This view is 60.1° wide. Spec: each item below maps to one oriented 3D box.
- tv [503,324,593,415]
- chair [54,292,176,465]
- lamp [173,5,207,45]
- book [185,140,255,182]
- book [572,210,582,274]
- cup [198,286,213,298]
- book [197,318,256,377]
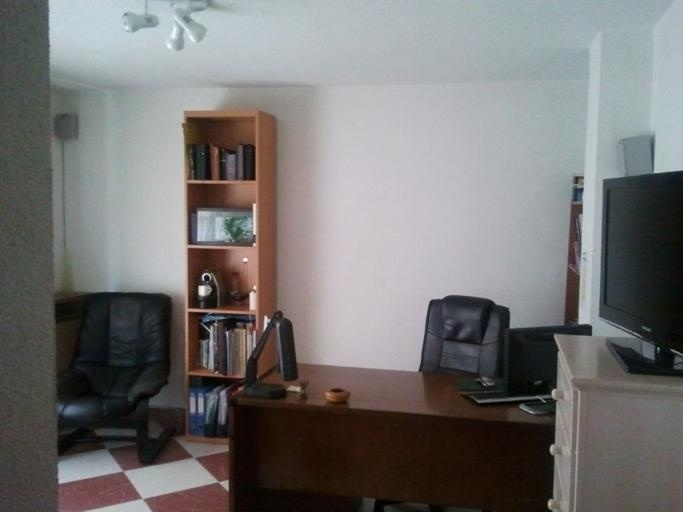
[{"bbox_3d":[0.898,0.502,2.601,0.413,0.301,0.054,-1,10,5],"label":"tv"},{"bbox_3d":[-1.684,0.870,4.257,0.825,0.988,0.868,0,5,-1],"label":"chair"},{"bbox_3d":[-0.815,-1.243,3.167,0.101,0.149,0.245,1,-13,3],"label":"lamp"},{"bbox_3d":[-0.893,-0.695,4.411,0.509,0.273,0.206,-2,5,-4],"label":"book"},{"bbox_3d":[1.554,-0.077,3.911,0.048,0.397,0.394,0,5,21],"label":"book"},{"bbox_3d":[-1.029,0.260,4.465,0.110,0.083,0.094,-2,5,-10],"label":"cup"},{"bbox_3d":[-0.817,0.659,4.639,0.435,0.573,0.459,2,-1,3],"label":"book"}]
